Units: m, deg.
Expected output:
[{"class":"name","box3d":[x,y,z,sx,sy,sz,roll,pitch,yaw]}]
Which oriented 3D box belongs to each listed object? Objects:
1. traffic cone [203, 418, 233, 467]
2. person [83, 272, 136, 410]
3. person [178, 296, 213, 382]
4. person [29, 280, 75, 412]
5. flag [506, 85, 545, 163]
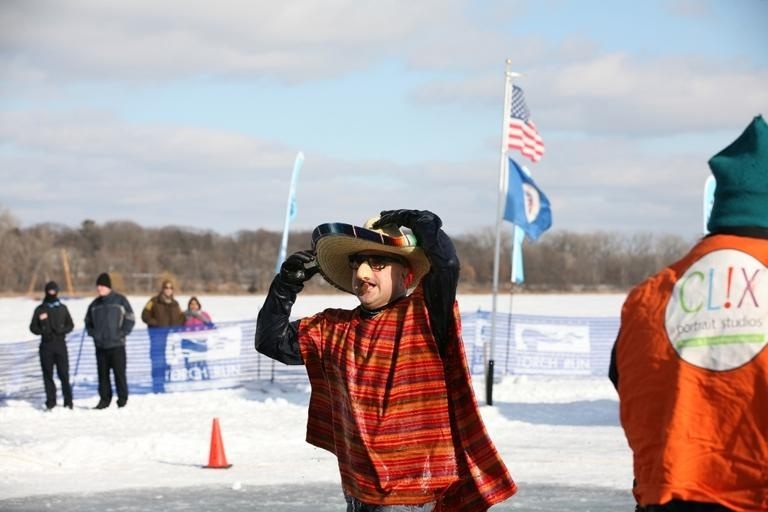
[{"class":"traffic cone","box3d":[-3.577,4.072,42.734,0.548,1.083,1.018,2,-2,-5]},{"class":"person","box3d":[-6.342,1.966,45.507,1.063,3.180,0.520,2,-1,-8]},{"class":"person","box3d":[-4.523,1.935,47.255,0.764,1.924,0.684,1,-2,6]},{"class":"person","box3d":[-7.625,2.110,45.517,1.202,2.901,0.876,0,-2,-29]},{"class":"flag","box3d":[3.331,-3.234,46.115,0.190,1.761,1.341,1,-2,41]}]
